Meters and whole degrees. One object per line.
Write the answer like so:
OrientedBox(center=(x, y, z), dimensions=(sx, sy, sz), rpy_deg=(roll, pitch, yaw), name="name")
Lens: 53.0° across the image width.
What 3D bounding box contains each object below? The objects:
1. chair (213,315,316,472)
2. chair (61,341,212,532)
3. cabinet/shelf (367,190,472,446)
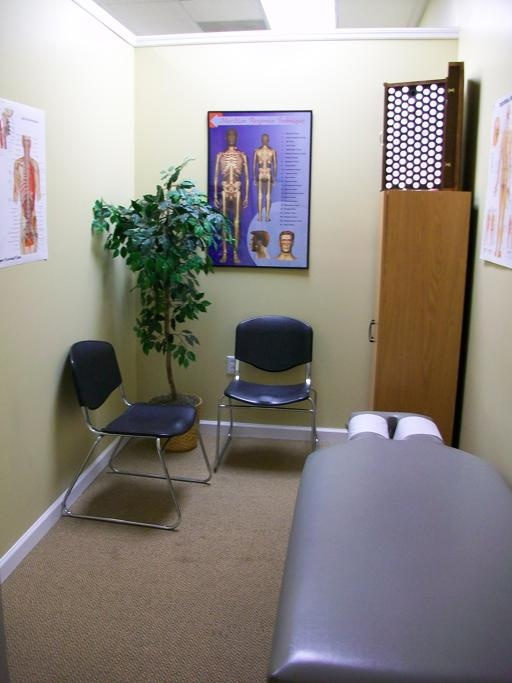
OrientedBox(center=(0.072, 0.326, 3.113), dimensions=(0.631, 0.869, 0.615), rpy_deg=(0, 11, -3), name="chair")
OrientedBox(center=(-0.638, 0.394, 2.937), dimensions=(0.780, 1.179, 0.744), rpy_deg=(4, 10, 11), name="chair")
OrientedBox(center=(0.899, -0.127, 2.877), dimensions=(0.408, 1.911, 0.409), rpy_deg=(8, 48, 20), name="cabinet/shelf")
